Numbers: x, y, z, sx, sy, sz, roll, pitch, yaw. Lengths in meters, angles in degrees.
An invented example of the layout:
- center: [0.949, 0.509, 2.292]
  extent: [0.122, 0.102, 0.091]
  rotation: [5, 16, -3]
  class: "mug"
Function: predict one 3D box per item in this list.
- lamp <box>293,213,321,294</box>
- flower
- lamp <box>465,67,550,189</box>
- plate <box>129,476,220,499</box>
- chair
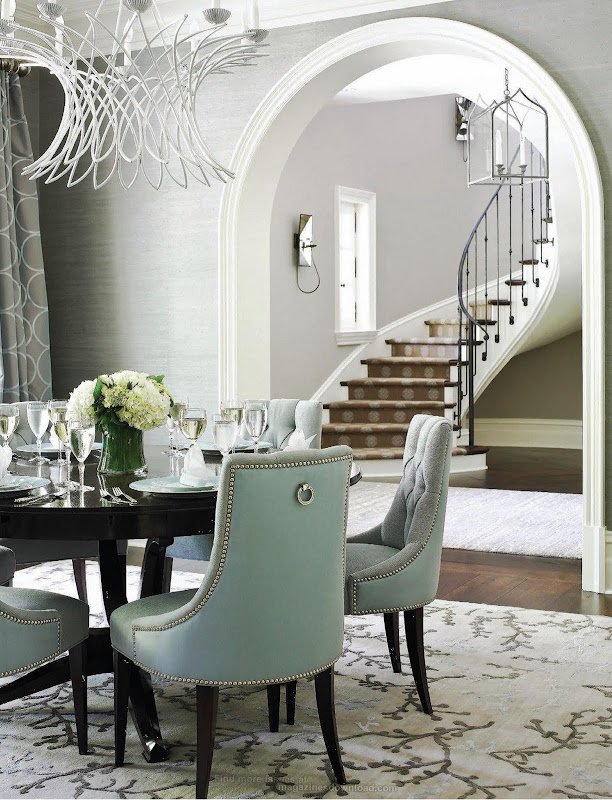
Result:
- center: [0.042, -1.323, 6.515]
  extent: [0.153, 0.704, 0.477]
  rotation: [-1, -1, 22]
  class: "lamp"
- center: [-0.486, -0.016, 1.846]
  extent: [0.176, 0.130, 0.196]
  rotation: [0, -1, -11]
  class: "flower"
- center: [1.552, -2.017, 5.318]
  extent: [0.566, 0.836, 1.135]
  rotation: [-1, -1, 6]
  class: "lamp"
- center: [-0.295, 0.192, 1.634]
  extent: [0.202, 0.037, 0.162]
  rotation: [-2, -2, 35]
  class: "plate"
- center: [-0.042, 0.424, 1.859]
  extent: [1.023, 0.840, 0.807]
  rotation: [8, -9, -41]
  class: "chair"
